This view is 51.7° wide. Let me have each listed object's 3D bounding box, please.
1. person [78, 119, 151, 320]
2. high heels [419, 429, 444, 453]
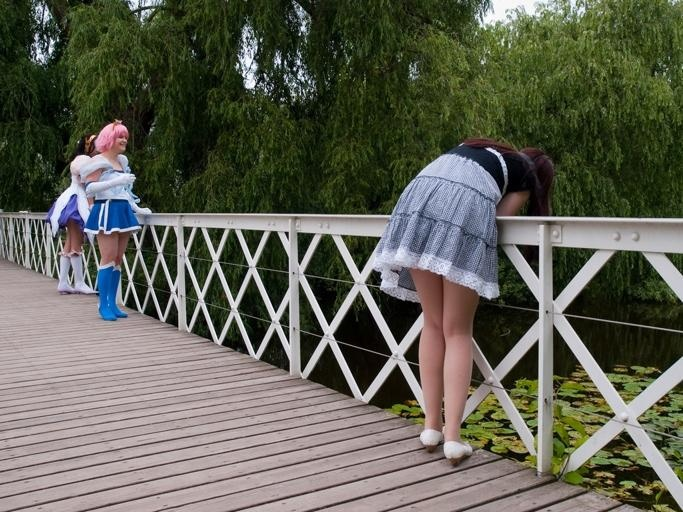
[{"bbox_3d":[-2.355,-0.354,7.329,0.611,2.082,0.708,-5,10,-20],"label":"person"},{"bbox_3d":[0.537,1.126,4.271,0.075,0.088,0.171,0,3,9],"label":"high heels"}]
